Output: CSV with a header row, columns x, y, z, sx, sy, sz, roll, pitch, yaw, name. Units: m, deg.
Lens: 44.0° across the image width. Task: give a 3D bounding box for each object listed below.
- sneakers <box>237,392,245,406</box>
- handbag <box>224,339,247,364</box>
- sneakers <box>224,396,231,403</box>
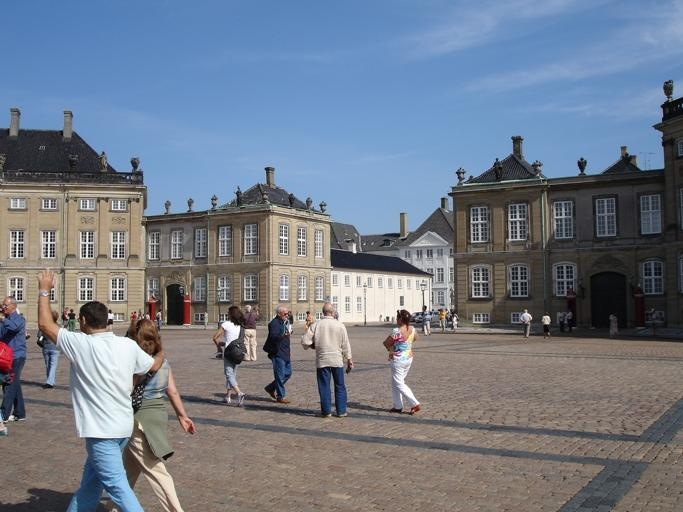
x,y,z,sx,sy,sz,roll,pitch,yaw,name
-1.994,2.836,16.717,0.149,0.329,0.112,7,32,6,sneakers
-2.152,1.929,17.137,0.466,0.495,0.348,0,-3,-20,handbag
-2.303,2.917,17.105,0.083,0.093,0.225,3,-8,-32,sneakers
